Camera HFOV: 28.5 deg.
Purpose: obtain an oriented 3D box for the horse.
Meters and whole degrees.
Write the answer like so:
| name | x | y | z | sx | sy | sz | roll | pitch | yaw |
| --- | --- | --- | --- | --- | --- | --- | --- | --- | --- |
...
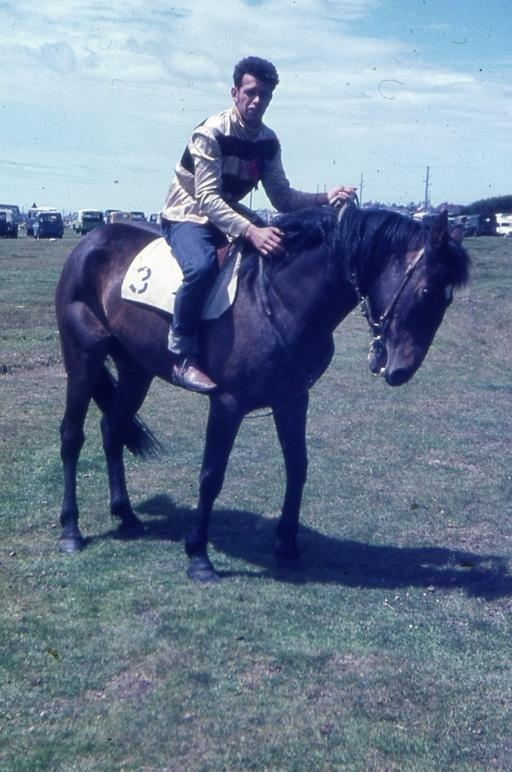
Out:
| name | x | y | z | sx | sy | sz | roll | pitch | yaw |
| --- | --- | --- | --- | --- | --- | --- | --- | --- | --- |
| horse | -0.147 | 0.005 | 5.334 | 2.492 | 1.986 | 0.826 | 12 | 14 | 39 |

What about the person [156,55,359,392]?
| name | x | y | z | sx | sy | sz | roll | pitch | yaw |
| --- | --- | --- | --- | --- | --- | --- | --- | --- | --- |
| person | -0.063 | -0.850 | 5.325 | 0.909 | 1.663 | 0.819 | -11 | 18 | -40 |
